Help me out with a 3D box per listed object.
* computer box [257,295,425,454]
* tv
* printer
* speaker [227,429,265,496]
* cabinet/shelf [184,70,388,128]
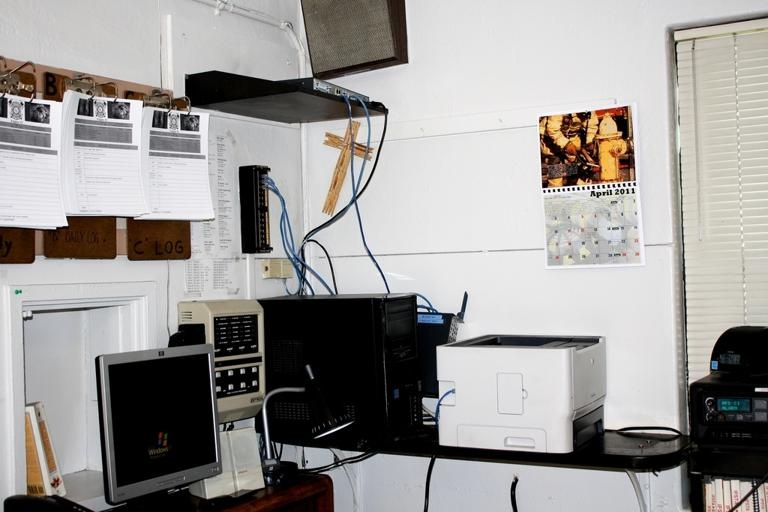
[{"bbox_3d":[-0.190,0.543,3.557,0.689,0.660,0.426,-4,-2,24],"label":"computer box"},{"bbox_3d":[-0.900,0.675,2.982,0.494,0.631,0.106,-1,0,-39],"label":"tv"},{"bbox_3d":[0.649,0.615,3.332,0.658,0.442,0.654,-3,-3,26],"label":"printer"},{"bbox_3d":[-0.644,0.921,3.207,0.208,0.269,0.208,-10,-8,-11],"label":"speaker"},{"bbox_3d":[-0.463,-0.784,3.597,0.523,0.205,0.869,-1,0,40],"label":"cabinet/shelf"}]
